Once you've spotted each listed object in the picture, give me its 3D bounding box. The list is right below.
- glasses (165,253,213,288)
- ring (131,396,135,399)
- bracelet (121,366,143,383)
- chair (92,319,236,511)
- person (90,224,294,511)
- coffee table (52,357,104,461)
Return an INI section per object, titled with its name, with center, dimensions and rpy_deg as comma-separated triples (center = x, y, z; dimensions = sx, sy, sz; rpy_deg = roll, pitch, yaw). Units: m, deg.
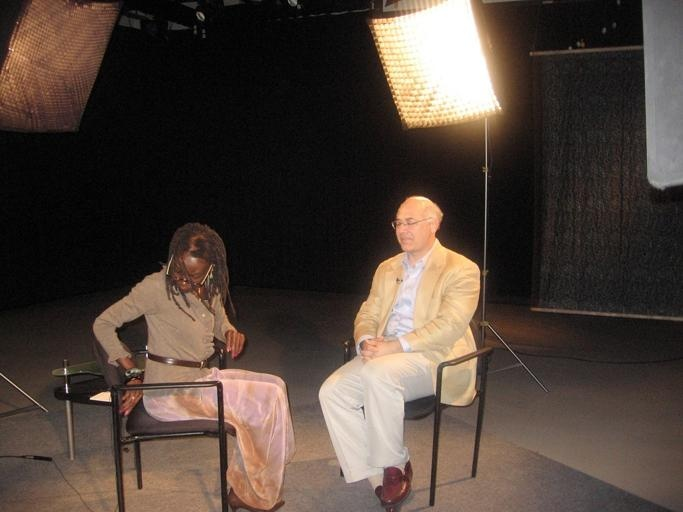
[glasses]
center = -0.804, 0.077, 2.999
dimensions = 0.173, 0.199, 0.058
rpy_deg = 6, 9, 2
[ring]
center = -1.045, 0.702, 2.860
dimensions = 0.016, 0.005, 0.013
rpy_deg = -8, 53, -10
[bracelet]
center = -1.091, 0.611, 2.990
dimensions = 0.115, 0.085, 0.125
rpy_deg = -7, -3, 15
[chair]
center = -0.878, 0.737, 3.394
dimensions = 0.895, 1.357, 0.798
rpy_deg = -1, 5, -8
[person]
center = -0.674, 0.542, 3.823
dimensions = 1.393, 2.144, 1.149
rpy_deg = 0, 1, 26
[coffee table]
center = -1.641, 0.951, 3.681
dimensions = 0.413, 0.550, 0.515
rpy_deg = -3, -6, -26
